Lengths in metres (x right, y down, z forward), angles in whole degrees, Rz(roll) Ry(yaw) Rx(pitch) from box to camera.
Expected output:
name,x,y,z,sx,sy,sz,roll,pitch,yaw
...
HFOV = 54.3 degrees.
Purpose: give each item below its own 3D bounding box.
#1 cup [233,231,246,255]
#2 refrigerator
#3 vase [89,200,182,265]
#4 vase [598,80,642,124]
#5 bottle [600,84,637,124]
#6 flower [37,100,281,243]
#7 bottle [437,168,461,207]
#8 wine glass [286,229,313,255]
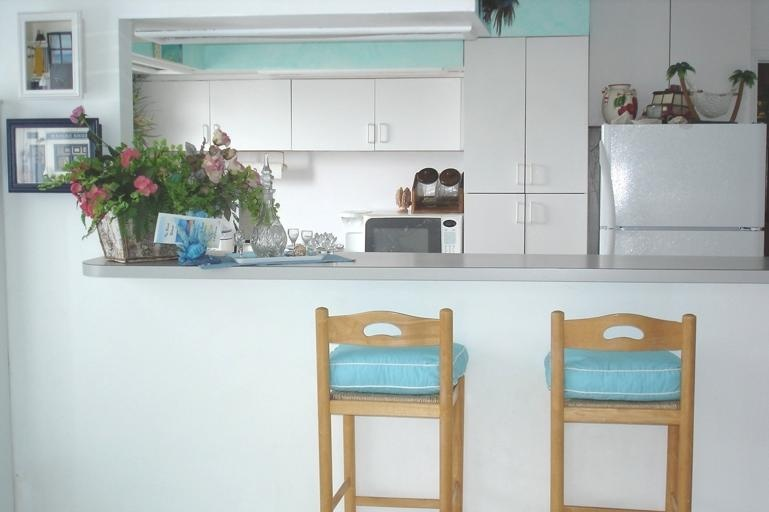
name,x,y,z,sx,sy,sz,roll,pitch,yaw
cup,-0.812,-0.080,4.226,0.065,0.057,0.185,5,-12,-8
refrigerator,2.038,-0.449,5.480,1.146,1.192,0.885,0,1,7
vase,-1.198,-0.105,3.602,0.321,0.234,0.228,1,1,-24
vase,1.689,-1.104,5.427,0.269,0.354,0.272,0,-1,3
bottle,1.688,-1.090,5.477,0.261,0.341,0.271,0,0,0
flower,-1.049,-0.374,3.697,0.749,0.381,0.787,2,3,3
bottle,0.502,-0.530,5.742,0.197,0.288,0.159,3,4,21
wine glass,-0.432,-0.074,3.853,0.118,0.212,0.187,2,0,-1
